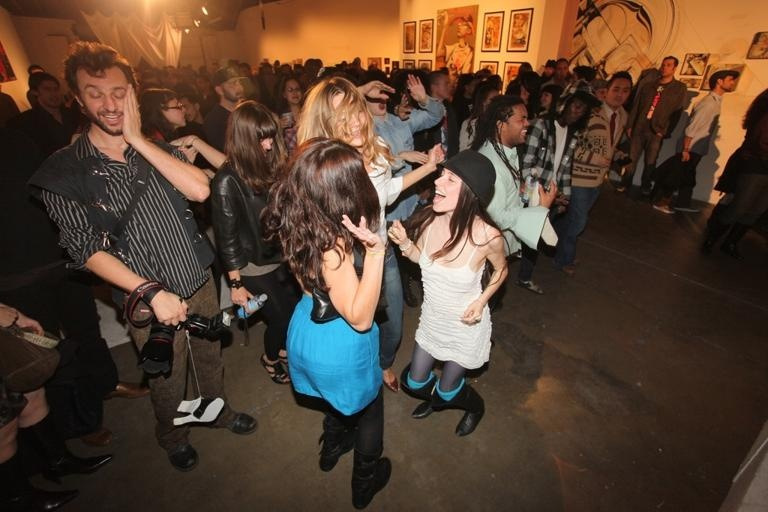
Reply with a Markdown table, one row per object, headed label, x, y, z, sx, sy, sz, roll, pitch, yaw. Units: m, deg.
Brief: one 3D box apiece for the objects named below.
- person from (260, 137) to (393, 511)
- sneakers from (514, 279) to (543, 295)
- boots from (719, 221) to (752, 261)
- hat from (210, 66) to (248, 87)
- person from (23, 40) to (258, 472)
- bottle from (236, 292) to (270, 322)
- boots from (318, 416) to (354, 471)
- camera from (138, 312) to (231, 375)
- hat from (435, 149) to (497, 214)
| label | x | y | z | sx | sy | sz | roll | pitch | yaw |
| --- | --- | --- | --- | --- | --- | --- | --- | --- | --- |
| person | -0.395 | 0.708 | 3.878 | 0.847 | 3.130 | 1.084 | -7 | 30 | -14 |
| sneakers | 1.976 | 0.399 | 6.207 | 0.302 | 0.121 | 0.158 | 12 | 23 | 25 |
| boots | 5.206 | -0.213 | 6.810 | 0.229 | 0.439 | 0.393 | -29 | 65 | -31 |
| hat | -2.098 | -2.441 | 6.177 | 0.448 | 0.224 | 0.335 | -17 | 21 | 13 |
| person | -2.077 | 0.137 | 4.115 | 1.276 | 3.629 | 1.090 | 24 | 36 | 36 |
| bottle | -1.311 | 0.495 | 4.554 | 0.409 | 0.125 | 0.221 | -32 | 25 | 14 |
| boots | -0.511 | 1.809 | 4.408 | 0.224 | 0.498 | 0.489 | 9 | 61 | 2 |
| camera | -1.701 | 0.619 | 3.956 | 0.753 | 0.227 | 0.503 | -15 | 53 | -33 |
| hat | 0.789 | -0.613 | 4.082 | 0.250 | 0.524 | 0.424 | -44 | 51 | 5 |
